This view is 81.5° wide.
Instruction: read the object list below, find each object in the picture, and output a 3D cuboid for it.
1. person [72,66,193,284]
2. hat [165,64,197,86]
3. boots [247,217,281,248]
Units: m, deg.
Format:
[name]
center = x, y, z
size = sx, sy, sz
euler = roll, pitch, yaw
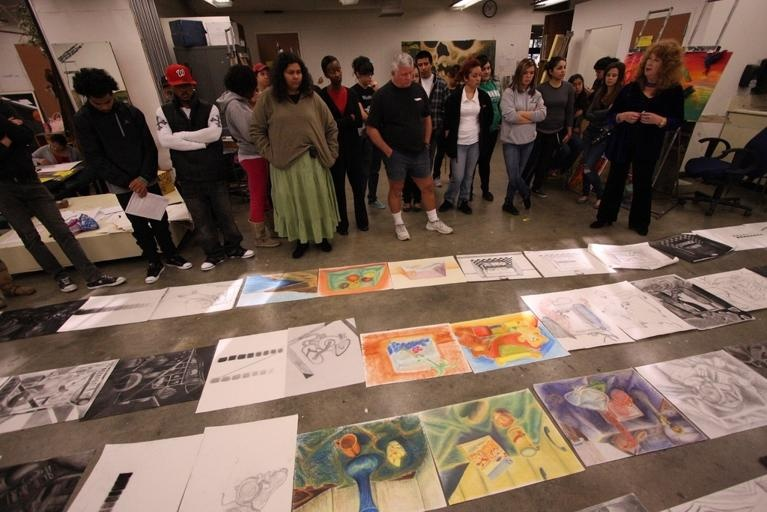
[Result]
[person]
center = -2.576, -0.797, 4.544
size = 0.639, 2.073, 0.725
euler = -22, 35, -27
[hat]
center = -2.079, -1.810, 4.447
size = 0.223, 0.121, 0.313
euler = -20, 52, -31
[boots]
center = -1.421, -0.307, 5.332
size = 0.437, 0.401, 0.228
euler = -11, 37, -17
